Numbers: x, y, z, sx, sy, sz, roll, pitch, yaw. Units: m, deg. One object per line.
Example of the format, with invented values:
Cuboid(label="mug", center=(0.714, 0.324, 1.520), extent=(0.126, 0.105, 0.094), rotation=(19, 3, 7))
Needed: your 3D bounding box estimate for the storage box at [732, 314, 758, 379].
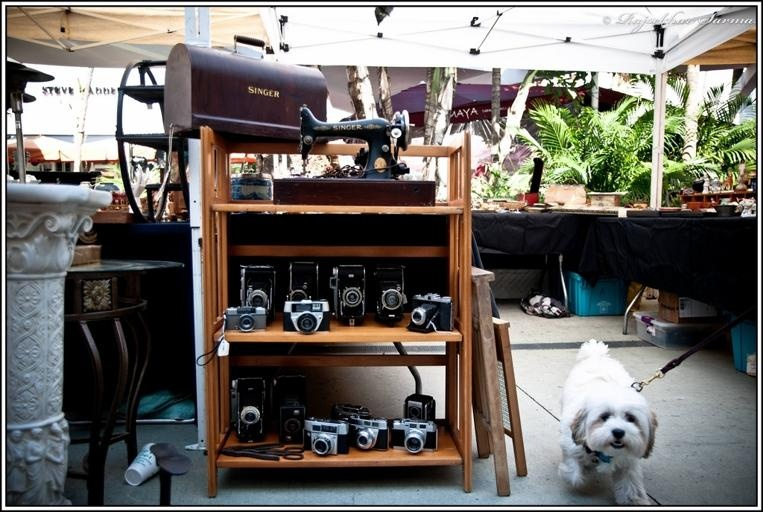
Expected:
Cuboid(label="storage box", center=(3.165, 0.772, 5.125), extent=(0.170, 0.569, 0.343), rotation=(4, 15, 17))

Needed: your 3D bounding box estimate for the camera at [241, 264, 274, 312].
Cuboid(label="camera", center=(-0.804, 0.216, 3.838), extent=(0.224, 0.283, 0.275), rotation=(-4, 14, -13))

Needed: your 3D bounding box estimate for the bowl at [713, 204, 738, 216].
Cuboid(label="bowl", center=(3.201, -0.418, 5.506), extent=(0.144, 0.060, 0.139), rotation=(-1, -1, 0))

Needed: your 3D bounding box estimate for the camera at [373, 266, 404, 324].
Cuboid(label="camera", center=(0.050, 0.253, 3.790), extent=(0.227, 0.327, 0.341), rotation=(0, -1, -4))

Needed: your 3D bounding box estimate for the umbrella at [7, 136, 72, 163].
Cuboid(label="umbrella", center=(-6.483, -2.070, 11.532), extent=(0.798, 0.493, 1.375), rotation=(-7, 15, -26))

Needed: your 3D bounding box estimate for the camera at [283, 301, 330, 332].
Cuboid(label="camera", center=(-0.464, 0.368, 3.681), extent=(0.304, 0.181, 0.212), rotation=(0, 8, -2))

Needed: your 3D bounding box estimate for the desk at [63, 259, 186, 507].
Cuboid(label="desk", center=(-1.700, 0.673, 3.894), extent=(0.713, 1.377, 1.203), rotation=(-6, 15, -19))

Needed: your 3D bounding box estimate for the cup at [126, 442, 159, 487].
Cuboid(label="cup", center=(-1.526, 1.333, 3.764), extent=(0.182, 0.173, 0.246), rotation=(19, 11, -1))

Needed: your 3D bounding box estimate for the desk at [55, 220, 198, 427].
Cuboid(label="desk", center=(-2.086, 0.478, 5.076), extent=(1.372, 1.436, 1.384), rotation=(1, -2, 0))

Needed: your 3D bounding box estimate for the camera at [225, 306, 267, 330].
Cuboid(label="camera", center=(-0.830, 0.388, 3.602), extent=(0.219, 0.124, 0.148), rotation=(0, -1, -6))

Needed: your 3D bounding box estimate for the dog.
Cuboid(label="dog", center=(1.373, 1.044, 3.639), extent=(0.521, 0.800, 0.643), rotation=(1, 14, 4))

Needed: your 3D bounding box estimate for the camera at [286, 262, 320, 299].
Cuboid(label="camera", center=(-0.518, 0.164, 4.051), extent=(0.230, 0.385, 0.236), rotation=(0, 2, -4))

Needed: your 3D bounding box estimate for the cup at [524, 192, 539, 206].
Cuboid(label="cup", center=(2.010, -0.757, 7.892), extent=(0.178, 0.166, 0.422), rotation=(3, 14, 13))

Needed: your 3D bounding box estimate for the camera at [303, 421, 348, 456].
Cuboid(label="camera", center=(-0.357, 1.129, 3.687), extent=(0.289, 0.201, 0.158), rotation=(1, 3, 18))

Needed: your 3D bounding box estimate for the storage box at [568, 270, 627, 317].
Cuboid(label="storage box", center=(2.888, 0.375, 7.757), extent=(0.734, 0.544, 0.955), rotation=(-2, 16, 12))

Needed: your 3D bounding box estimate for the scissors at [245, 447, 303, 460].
Cuboid(label="scissors", center=(-0.658, 1.225, 3.671), extent=(0.231, 0.028, 0.124), rotation=(3, 2, 3))

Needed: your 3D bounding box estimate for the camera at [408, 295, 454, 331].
Cuboid(label="camera", center=(0.279, 0.356, 3.693), extent=(0.295, 0.211, 0.214), rotation=(6, 12, 41))
